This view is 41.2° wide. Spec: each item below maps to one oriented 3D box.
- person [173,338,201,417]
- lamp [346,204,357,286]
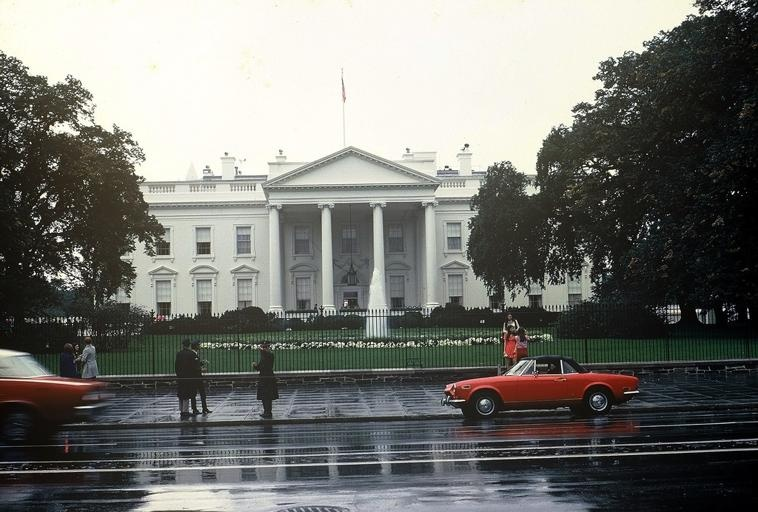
[{"bbox_3d":[-6.237,4.038,33.008,0.801,2.607,1.181,2,-10,-11],"label":"person"},{"bbox_3d":[-1.928,-0.613,74.921,0.779,5.345,1.594,0,-10,-2],"label":"lamp"}]
